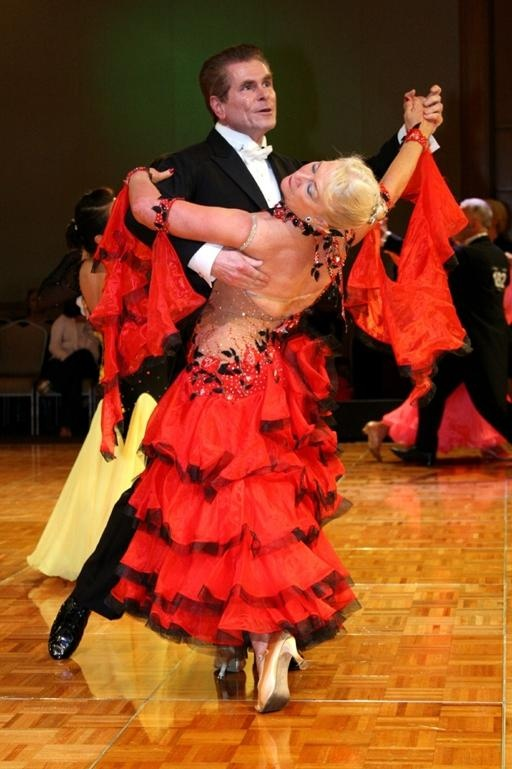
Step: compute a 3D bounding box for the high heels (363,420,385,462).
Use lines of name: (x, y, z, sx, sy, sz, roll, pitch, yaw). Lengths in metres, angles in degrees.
high heels: (0.893, 0.406, 4.945, 0.161, 0.355, 0.119, -3, 9, 7)

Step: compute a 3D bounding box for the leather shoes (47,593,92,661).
leather shoes: (-0.441, 0.588, 1.626, 0.071, 0.080, 0.202, 29, 27, -16)

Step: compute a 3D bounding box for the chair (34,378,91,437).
chair: (-1.874, 0.278, 6.957, 0.548, 0.669, 0.971, 3, -2, -8)
